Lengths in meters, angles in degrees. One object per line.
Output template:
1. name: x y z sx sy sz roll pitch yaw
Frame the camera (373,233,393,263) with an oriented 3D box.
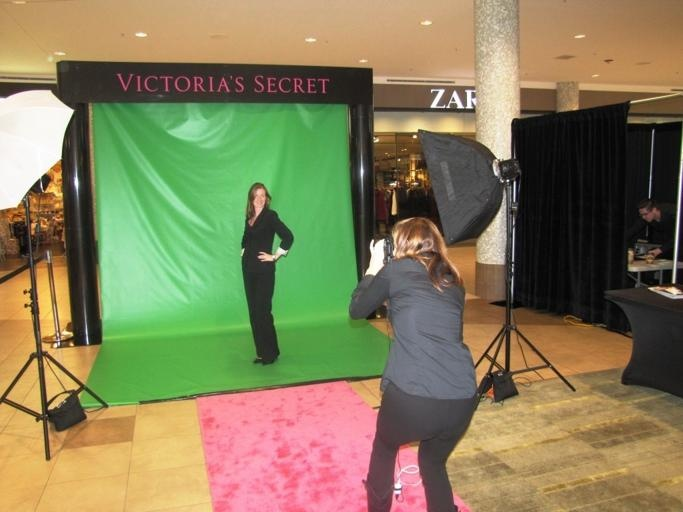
1. camera: 0.251 -0.072 2.737 0.038 0.110 0.147 -6 31 -18

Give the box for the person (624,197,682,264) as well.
1. person: 4.529 -0.435 7.049 0.589 0.884 1.946 7 15 31
